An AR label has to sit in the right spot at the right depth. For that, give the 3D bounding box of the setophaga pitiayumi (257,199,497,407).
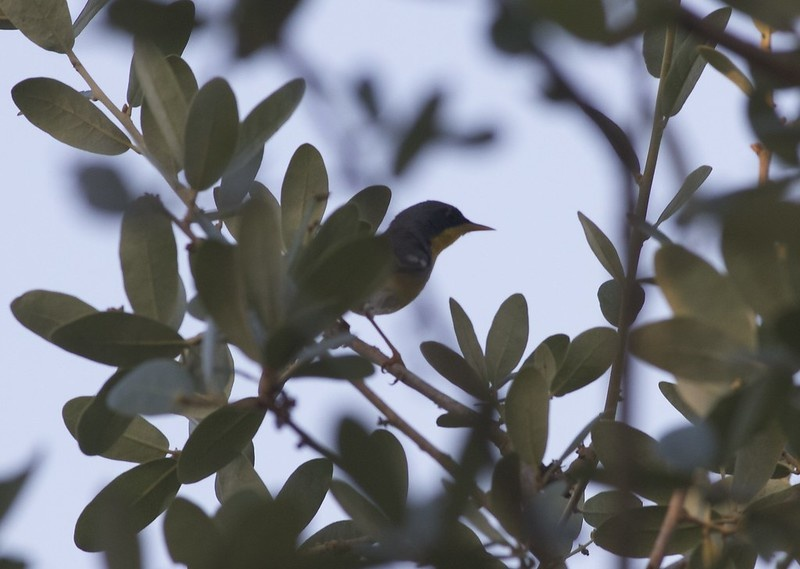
[{"bbox_3d":[-0.009,-0.137,6.050,0.830,0.768,0.386,-4,-2,-13],"label":"setophaga pitiayumi"}]
